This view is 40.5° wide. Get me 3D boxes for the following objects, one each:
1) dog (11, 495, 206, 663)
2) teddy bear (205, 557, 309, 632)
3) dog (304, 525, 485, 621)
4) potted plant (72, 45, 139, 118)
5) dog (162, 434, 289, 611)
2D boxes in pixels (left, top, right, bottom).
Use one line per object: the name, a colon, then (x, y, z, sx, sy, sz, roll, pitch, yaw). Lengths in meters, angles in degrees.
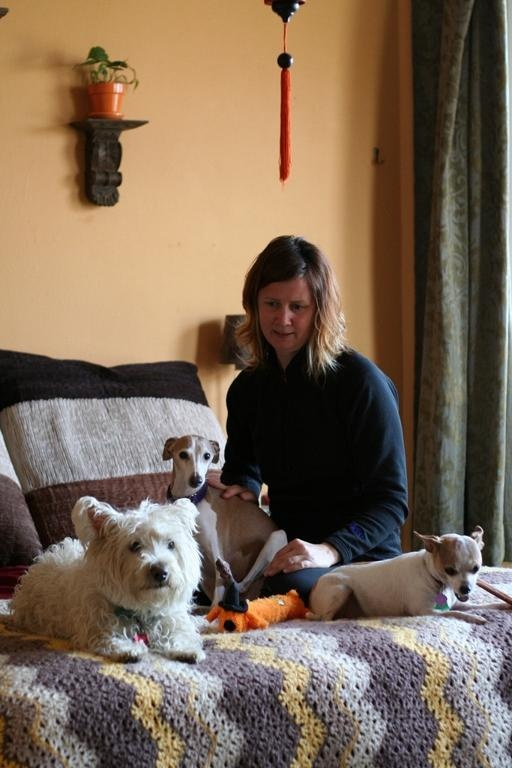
dog: (-0.260, 0.356, 1.264, 0.243, 0.267, 0.449, 15, -15, -40)
teddy bear: (-0.011, 0.444, 1.445, 0.226, 0.160, 0.138, 10, -34, -43)
dog: (0.279, 0.391, 1.401, 0.347, 0.161, 0.182, -20, -19, 34)
potted plant: (-0.630, -1.261, 2.890, 0.247, 0.261, 0.237, 17, 25, 28)
dog: (-0.159, 0.420, 2.001, 0.205, 0.357, 0.604, 1, -27, -3)
